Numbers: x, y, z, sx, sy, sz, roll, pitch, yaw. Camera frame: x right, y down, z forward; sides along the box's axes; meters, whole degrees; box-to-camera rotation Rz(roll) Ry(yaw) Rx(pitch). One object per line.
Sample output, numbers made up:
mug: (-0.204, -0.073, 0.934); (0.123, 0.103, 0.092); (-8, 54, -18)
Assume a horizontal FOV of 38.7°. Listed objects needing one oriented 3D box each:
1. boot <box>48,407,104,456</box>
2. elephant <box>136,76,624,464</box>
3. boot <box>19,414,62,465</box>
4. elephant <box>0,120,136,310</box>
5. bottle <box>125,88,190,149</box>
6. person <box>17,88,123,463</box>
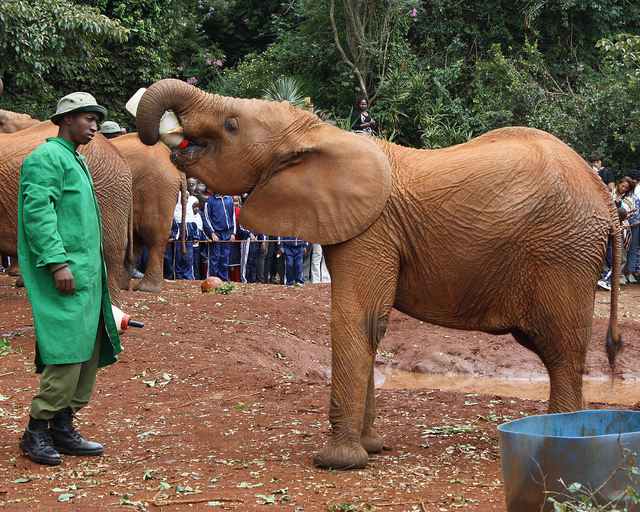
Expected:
boot: (-1.994, 1.466, 7.464); (0.557, 0.342, 0.205); (1, -1, 17)
elephant: (0.495, 0.072, 7.946); (4.398, 2.579, 1.338); (8, 11, 11)
boot: (-2.234, 1.474, 7.270); (0.303, 0.383, 0.272); (-2, 11, -18)
elephant: (-2.982, -0.466, 10.756); (1.453, 2.210, 1.039); (0, 11, -8)
bottle: (-1.286, -1.096, 7.241); (0.490, 0.466, 0.290); (2, 11, 1)
person: (-2.041, 0.175, 7.352); (0.752, 2.957, 0.885); (4, 11, 10)
